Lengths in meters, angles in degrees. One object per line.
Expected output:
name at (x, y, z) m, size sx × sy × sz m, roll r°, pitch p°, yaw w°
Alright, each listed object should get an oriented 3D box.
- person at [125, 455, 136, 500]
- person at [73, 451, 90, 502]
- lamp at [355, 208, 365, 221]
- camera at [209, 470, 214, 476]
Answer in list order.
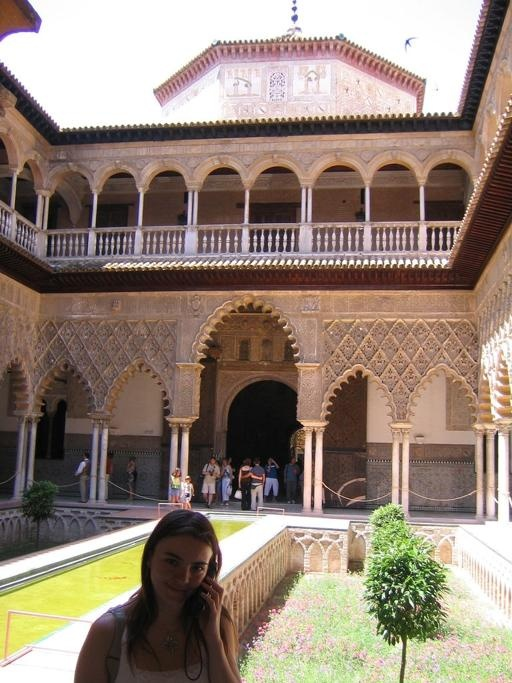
person at (-2.771, 3.062, 13.562) m, size 0.249 × 0.917 × 1.252 m, roll 5°, pitch -12°, yaw -11°
person at (-3.670, 2.851, 12.904) m, size 0.260 × 0.990 × 2.030 m, roll 6°, pitch -12°, yaw -15°
lamp at (2.411, -2.965, 14.185) m, size 0.216 × 0.332 × 0.072 m, roll -4°, pitch -13°, yaw 28°
camera at (-0.888, 2.636, 12.183) m, size 0.093 × 0.169 × 0.091 m, roll 4°, pitch 2°, yaw 1°
